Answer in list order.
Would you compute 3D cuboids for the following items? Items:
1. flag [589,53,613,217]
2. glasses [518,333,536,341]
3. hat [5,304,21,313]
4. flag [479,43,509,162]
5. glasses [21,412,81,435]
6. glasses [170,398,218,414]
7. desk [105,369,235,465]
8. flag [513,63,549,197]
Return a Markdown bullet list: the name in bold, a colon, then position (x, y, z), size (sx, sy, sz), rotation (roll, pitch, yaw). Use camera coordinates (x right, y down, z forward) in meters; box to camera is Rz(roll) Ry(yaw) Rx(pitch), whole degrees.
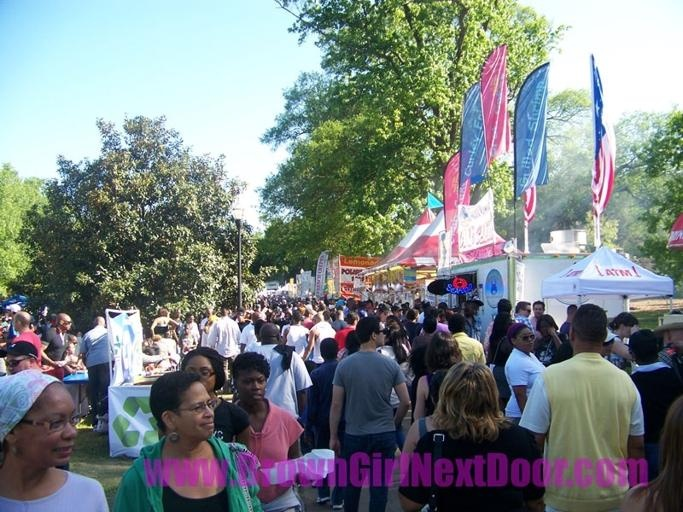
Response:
- **flag**: position (5.639, -2.612, 14.633), size (0.475, 3.516, 1.416), rotation (-2, -6, 21)
- **glasses**: position (1.922, 0.839, 6.970), size (0.083, 0.061, 0.279), rotation (-5, -9, 33)
- **hat**: position (-6.249, 0.999, 12.854), size (0.232, 0.073, 0.218), rotation (7, 18, 31)
- **flag**: position (3.945, -3.862, 17.242), size (0.480, 2.780, 0.900), rotation (3, -7, -30)
- **glasses**: position (-1.676, 0.971, 3.955), size (0.160, 0.100, 0.353), rotation (-6, -9, 37)
- **glasses**: position (-0.923, 0.997, 4.542), size (0.195, 0.085, 0.537), rotation (-1, -8, 4)
- **desk**: position (-2.847, 2.324, 10.225), size (1.413, 1.258, 1.527), rotation (1, -2, -7)
- **flag**: position (4.269, -2.792, 15.202), size (0.803, 3.025, 0.680), rotation (-2, -6, 15)
